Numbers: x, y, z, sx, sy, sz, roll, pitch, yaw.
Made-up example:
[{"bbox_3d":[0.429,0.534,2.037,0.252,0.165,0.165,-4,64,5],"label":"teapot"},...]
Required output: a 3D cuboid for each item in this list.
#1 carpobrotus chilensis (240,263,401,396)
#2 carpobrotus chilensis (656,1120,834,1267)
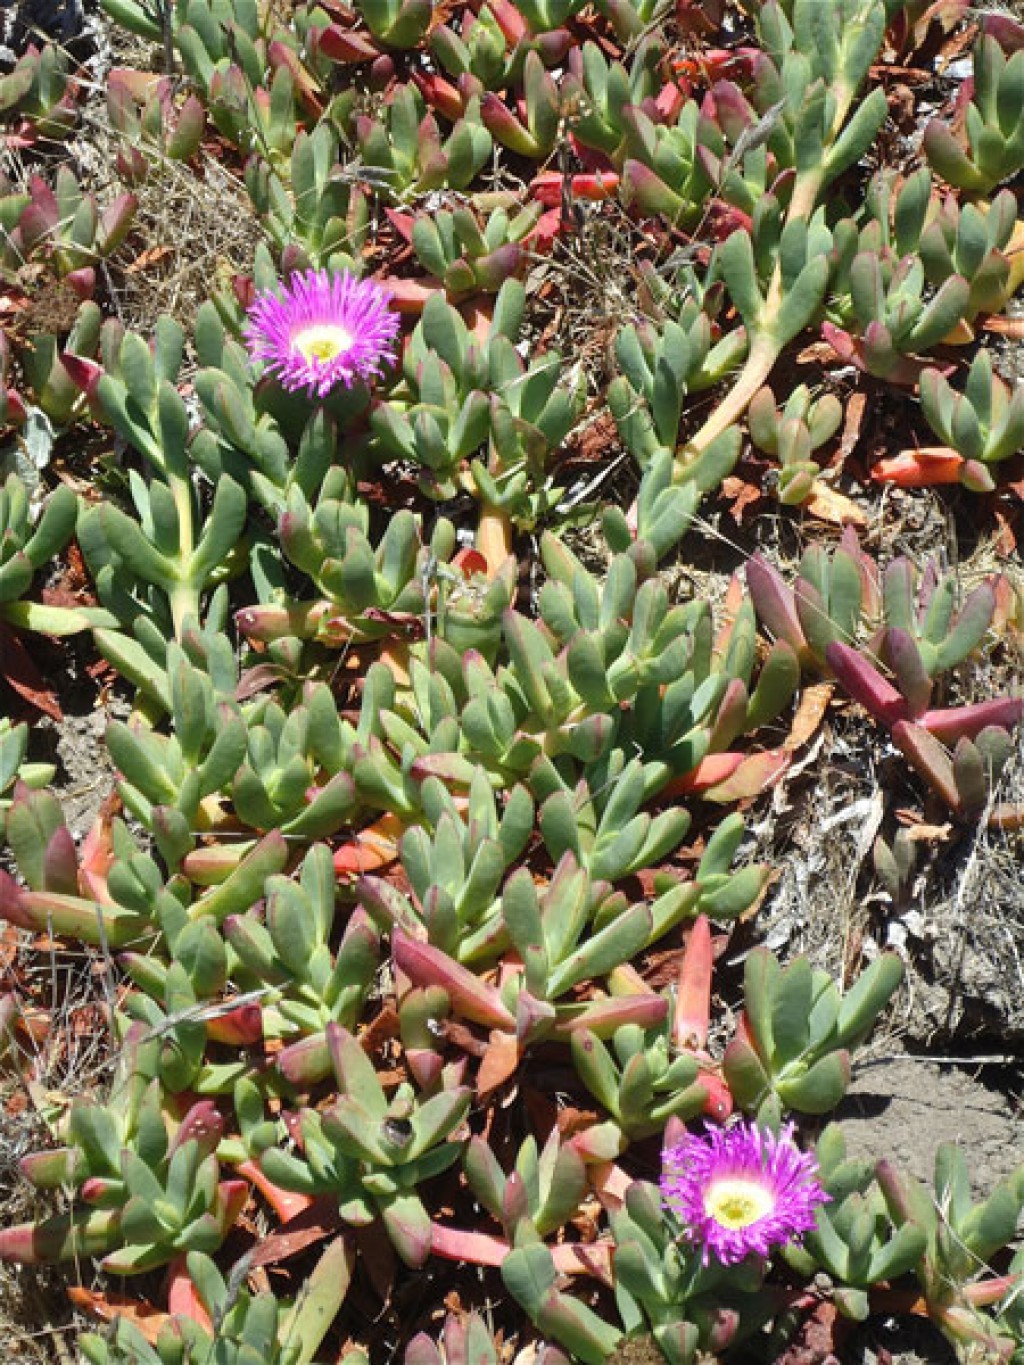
[{"bbox_3d":[-0.217,-0.397,1.435,0.176,0.082,0.175,-8,64,-8],"label":"carpobrotus chilensis"},{"bbox_3d":[0.187,0.416,1.048,0.123,0.114,0.107,-24,66,-7],"label":"carpobrotus chilensis"}]
